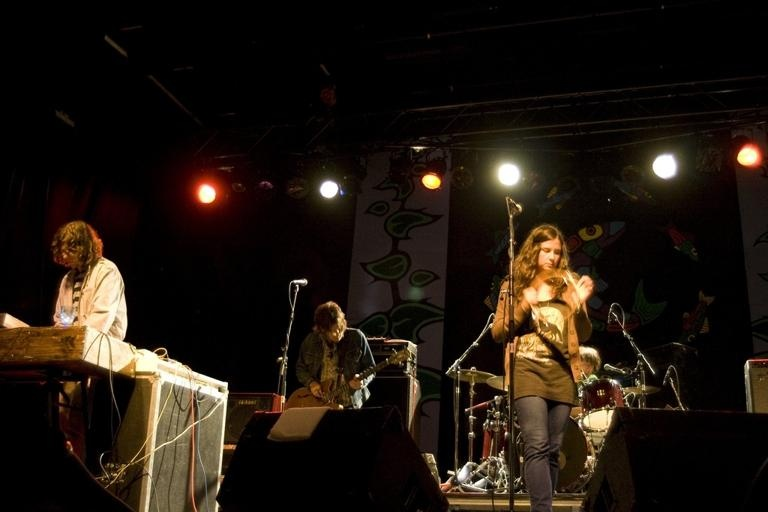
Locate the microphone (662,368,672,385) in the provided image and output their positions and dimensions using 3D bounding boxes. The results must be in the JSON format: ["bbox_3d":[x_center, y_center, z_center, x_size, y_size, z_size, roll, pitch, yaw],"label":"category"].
[{"bbox_3d":[3.588,1.514,8.064,0.072,0.276,0.068,16,7,35],"label":"microphone"}]

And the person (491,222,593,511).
[{"bbox_3d":[1.193,0.771,4.843,0.745,2.178,0.402,2,-18,11],"label":"person"}]

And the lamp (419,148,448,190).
[{"bbox_3d":[0.767,-1.331,9.516,0.376,0.646,0.722,5,-19,5],"label":"lamp"}]

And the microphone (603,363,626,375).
[{"bbox_3d":[2.994,1.473,8.261,0.125,0.100,0.348,-48,-37,16],"label":"microphone"}]

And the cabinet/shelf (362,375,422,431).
[{"bbox_3d":[0.062,1.471,6.506,0.508,0.527,0.971,0,-8,11],"label":"cabinet/shelf"}]

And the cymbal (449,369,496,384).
[{"bbox_3d":[1.036,1.428,7.600,0.307,0.071,0.312,6,-26,-8],"label":"cymbal"}]

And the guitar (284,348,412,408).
[{"bbox_3d":[-0.375,1.371,7.199,1.342,0.755,0.771,9,-19,-8],"label":"guitar"}]

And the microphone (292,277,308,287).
[{"bbox_3d":[-1.137,0.353,8.631,0.105,0.112,0.205,-9,-16,37],"label":"microphone"}]

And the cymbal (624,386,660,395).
[{"bbox_3d":[3.004,1.563,7.475,0.245,0.072,0.274,-6,-27,11],"label":"cymbal"}]
